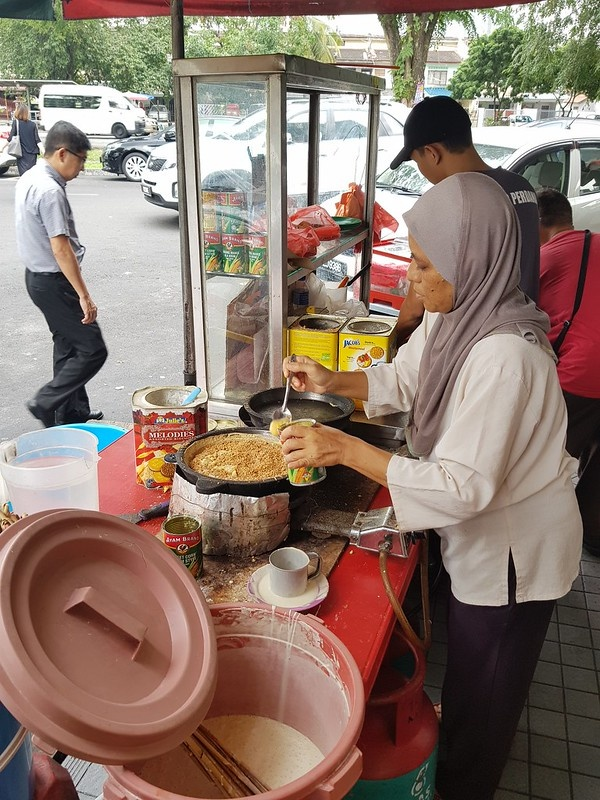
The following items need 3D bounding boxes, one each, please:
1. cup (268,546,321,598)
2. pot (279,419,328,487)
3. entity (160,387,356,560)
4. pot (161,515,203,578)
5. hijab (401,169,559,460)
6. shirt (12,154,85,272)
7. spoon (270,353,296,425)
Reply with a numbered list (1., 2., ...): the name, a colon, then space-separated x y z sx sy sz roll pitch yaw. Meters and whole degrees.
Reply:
1. cup: -0.012 0.420 1.506 0.111 0.077 0.081 -5 11 -41
2. pot: 0.013 0.151 1.597 0.091 0.190 0.150 1 16 15
3. entity: -0.097 0.162 1.772 0.395 0.189 0.541 9 19 15
4. pot: -0.286 0.379 1.527 0.094 0.153 0.123 -6 16 -10
5. hijab: 0.453 -0.167 1.596 0.359 0.796 0.234 4 17 22
6. shirt: -1.793 -1.282 4.285 0.394 0.776 0.455 -8 17 -18
7. spoon: -0.035 -0.004 1.922 0.055 0.037 0.258 -15 45 35
